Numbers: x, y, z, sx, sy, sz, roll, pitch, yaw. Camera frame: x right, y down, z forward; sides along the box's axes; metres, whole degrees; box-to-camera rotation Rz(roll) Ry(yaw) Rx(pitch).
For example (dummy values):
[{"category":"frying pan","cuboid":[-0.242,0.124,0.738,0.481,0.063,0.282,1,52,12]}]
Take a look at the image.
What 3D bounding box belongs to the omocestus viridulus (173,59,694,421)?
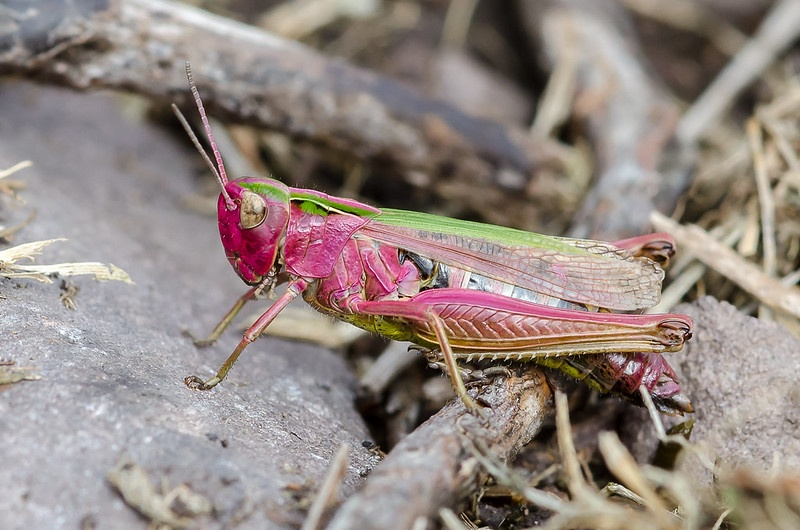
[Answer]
[{"category":"omocestus viridulus","cuboid":[0.203,0.290,4.199,2.414,1.044,0.807,13,39,-7]}]
